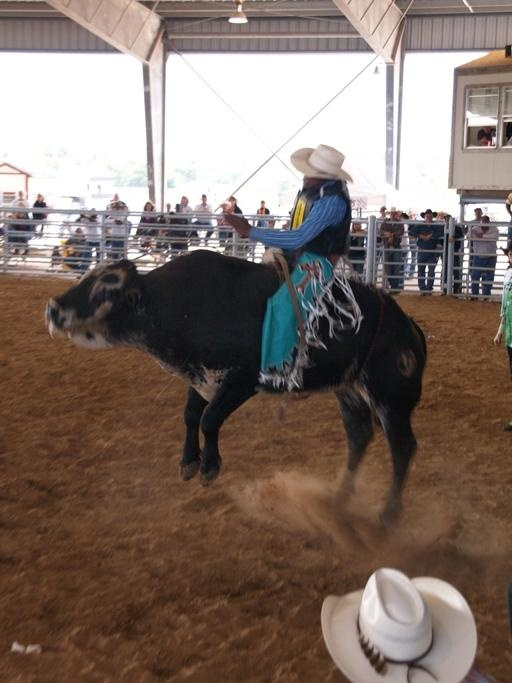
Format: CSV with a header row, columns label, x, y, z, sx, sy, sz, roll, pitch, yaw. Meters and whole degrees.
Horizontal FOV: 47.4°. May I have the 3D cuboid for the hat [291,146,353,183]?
label,x,y,z,sx,sy,sz,roll,pitch,yaw
hat,0.263,-0.728,2.417,0.188,0.079,0.208,29,25,5

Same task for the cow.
label,x,y,z,sx,sy,sz,roll,pitch,yaw
cow,-0.023,0.257,2.433,1.571,1.260,0.422,-3,14,-18
